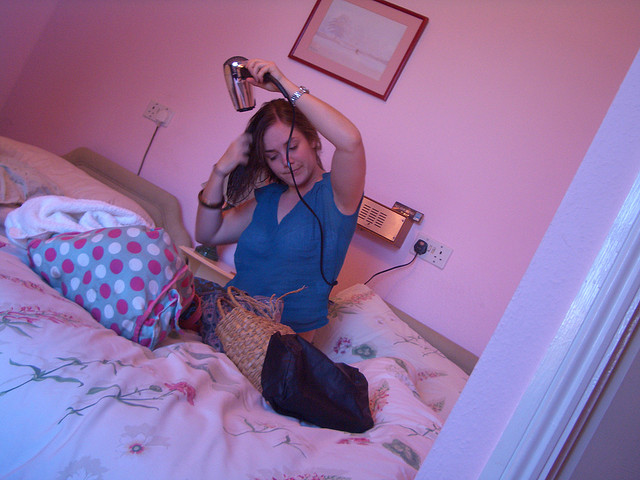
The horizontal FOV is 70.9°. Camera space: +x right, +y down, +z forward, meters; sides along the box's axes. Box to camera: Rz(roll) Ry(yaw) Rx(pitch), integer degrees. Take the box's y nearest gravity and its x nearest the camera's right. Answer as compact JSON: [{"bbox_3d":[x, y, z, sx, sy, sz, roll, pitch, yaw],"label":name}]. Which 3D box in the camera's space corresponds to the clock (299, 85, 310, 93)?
[{"bbox_3d":[-0.051,-0.479,1.433,0.028,0.020,0.069,19,11,-2],"label":"clock"}]

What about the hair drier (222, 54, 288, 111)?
[{"bbox_3d":[-0.270,-0.523,1.499,0.125,0.164,0.109,15,11,-14],"label":"hair drier"}]

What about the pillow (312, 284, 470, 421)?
[{"bbox_3d":[0.238,0.365,1.667,0.470,0.339,0.582,4,8,-1],"label":"pillow"}]

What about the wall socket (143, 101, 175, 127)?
[{"bbox_3d":[-0.867,-0.686,2.420,0.173,0.127,0.040,26,2,10],"label":"wall socket"}]

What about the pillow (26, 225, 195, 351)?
[{"bbox_3d":[-0.557,0.080,1.227,0.505,0.214,0.255,24,33,21],"label":"pillow"}]

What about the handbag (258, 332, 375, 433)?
[{"bbox_3d":[0.001,0.344,1.103,0.308,0.128,0.241,26,12,-21],"label":"handbag"}]
